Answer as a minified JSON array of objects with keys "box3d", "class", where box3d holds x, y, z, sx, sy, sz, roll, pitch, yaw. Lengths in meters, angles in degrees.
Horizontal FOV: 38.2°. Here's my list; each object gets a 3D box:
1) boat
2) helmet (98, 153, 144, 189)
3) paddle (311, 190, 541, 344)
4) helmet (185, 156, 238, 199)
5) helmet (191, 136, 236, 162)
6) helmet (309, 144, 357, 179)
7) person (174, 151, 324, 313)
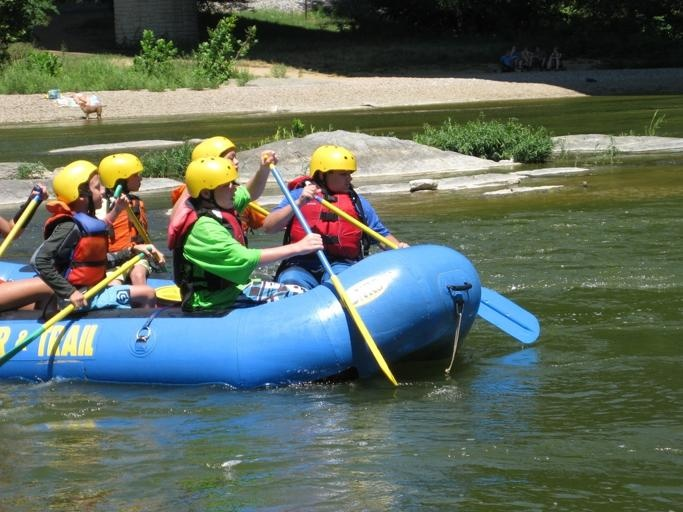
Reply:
[{"box3d":[-0.811,0.595,8.198,3.625,0.599,1.418,-3,-3,11],"class":"boat"},{"box3d":[-2.010,-0.773,9.125,0.471,0.271,0.300,12,3,7],"class":"helmet"},{"box3d":[0.840,0.122,9.350,3.368,0.185,0.440,27,1,17],"class":"paddle"},{"box3d":[-1.052,-0.579,7.869,0.432,0.280,0.326,-7,0,-13],"class":"helmet"},{"box3d":[-1.203,-0.907,8.760,0.430,0.207,0.282,-13,4,11],"class":"helmet"},{"box3d":[-0.073,-0.814,8.667,0.465,0.250,0.363,8,10,39],"class":"helmet"},{"box3d":[-0.866,-0.141,7.893,1.037,1.260,0.416,3,22,2],"class":"person"}]
